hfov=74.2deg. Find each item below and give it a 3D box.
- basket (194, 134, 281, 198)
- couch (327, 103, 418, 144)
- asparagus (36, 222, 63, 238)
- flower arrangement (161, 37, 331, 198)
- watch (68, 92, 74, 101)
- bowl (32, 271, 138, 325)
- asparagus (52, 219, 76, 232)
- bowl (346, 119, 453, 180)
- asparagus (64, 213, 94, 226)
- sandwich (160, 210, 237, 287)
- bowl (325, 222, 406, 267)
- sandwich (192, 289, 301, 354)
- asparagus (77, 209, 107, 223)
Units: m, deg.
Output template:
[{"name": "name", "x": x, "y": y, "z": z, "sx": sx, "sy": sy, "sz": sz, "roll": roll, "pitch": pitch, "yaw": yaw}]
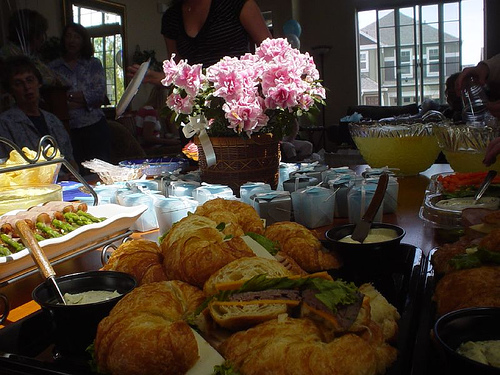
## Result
[{"name": "basket", "x": -0.043, "y": -0.120, "z": 1.102, "sx": 0.266, "sy": 0.186, "sz": 0.271, "roll": 11, "pitch": 28, "yaw": 25}, {"name": "couch", "x": 3.075, "y": -1.718, "z": 7.738, "sx": 1.727, "sy": 0.540, "sz": 1.829, "roll": 11, "pitch": 23, "yaw": 40}, {"name": "asparagus", "x": -0.359, "y": 0.077, "z": 0.598, "sx": 0.048, "sy": 0.027, "sz": 0.028, "roll": 5, "pitch": 16, "yaw": 31}, {"name": "flower arrangement", "x": -0.060, "y": -0.222, "z": 1.084, "sx": 0.475, "sy": 0.434, "sz": 0.433, "roll": 5, "pitch": 22, "yaw": -4}, {"name": "watch", "x": -1.757, "y": -0.888, "z": 3.251, "sx": 0.063, "sy": 0.062, "sz": 0.062, "roll": 1, "pitch": -4, "yaw": 5}, {"name": "bowl", "x": -0.211, "y": 0.132, "z": 0.403, "sx": 0.123, "sy": 0.042, "sz": 0.125, "roll": 0, "pitch": -10, "yaw": 0}, {"name": "asparagus", "x": -0.352, "y": 0.073, "z": 0.623, "sx": 0.031, "sy": 0.008, "sz": 0.009, "roll": 26, "pitch": 25, "yaw": -2}, {"name": "bowl", "x": 0.647, "y": -0.194, "z": 1.470, "sx": 0.407, "sy": 0.261, "sz": 0.416, "roll": -7, "pitch": 13, "yaw": 2}, {"name": "asparagus", "x": -0.338, "y": 0.064, "z": 0.650, "sx": 0.032, "sy": 0.009, "sz": 0.010, "roll": 25, "pitch": -15, "yaw": -4}, {"name": "sandwich", "x": -0.060, "y": 0.070, "z": 0.383, "sx": 0.078, "sy": 0.056, "sz": 0.093, "roll": -7, "pitch": 14, "yaw": -17}, {"name": "bowl", "x": 0.210, "y": 0.097, "z": 0.581, "sx": 0.118, "sy": 0.044, "sz": 0.122, "roll": 3, "pitch": -18, "yaw": 1}, {"name": "sandwich", "x": -0.008, "y": 0.100, "z": 0.295, "sx": 0.063, "sy": 0.021, "sz": 0.063, "roll": -20, "pitch": 5, "yaw": -14}, {"name": "asparagus", "x": -0.330, "y": 0.061, "z": 0.690, "sx": 0.034, "sy": 0.008, "sz": 0.009, "roll": 25, "pitch": 51, "yaw": -3}]
